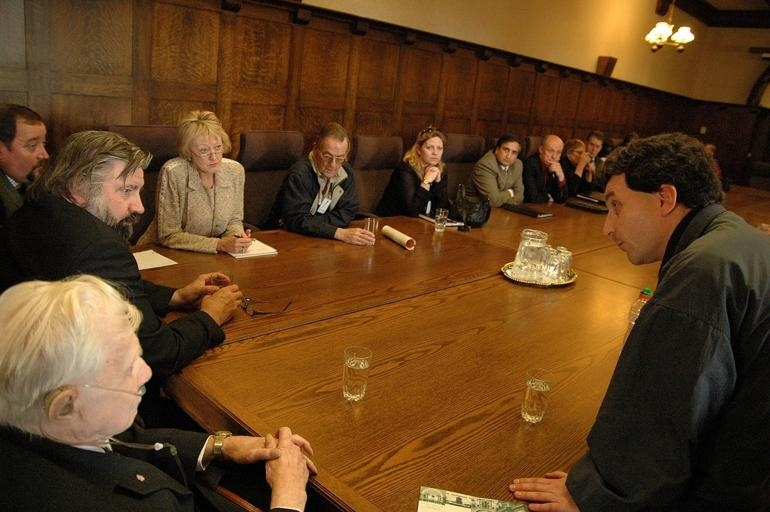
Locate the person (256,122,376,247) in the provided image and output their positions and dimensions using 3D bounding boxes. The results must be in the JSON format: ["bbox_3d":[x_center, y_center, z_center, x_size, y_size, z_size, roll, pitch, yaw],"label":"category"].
[{"bbox_3d":[-0.422,-0.449,3.311,0.598,0.781,0.829,2,25,-22],"label":"person"}]

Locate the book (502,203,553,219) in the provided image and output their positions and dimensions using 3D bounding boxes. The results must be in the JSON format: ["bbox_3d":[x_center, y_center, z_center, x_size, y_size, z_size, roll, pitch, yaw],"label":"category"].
[{"bbox_3d":[1.188,-0.380,4.151,0.378,0.050,0.499,-7,19,-35],"label":"book"}]

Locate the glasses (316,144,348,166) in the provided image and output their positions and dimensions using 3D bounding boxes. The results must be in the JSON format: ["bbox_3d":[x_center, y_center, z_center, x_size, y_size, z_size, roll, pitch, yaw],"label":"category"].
[{"bbox_3d":[-0.344,-0.662,3.217,0.190,0.128,0.108,0,18,-10],"label":"glasses"}]

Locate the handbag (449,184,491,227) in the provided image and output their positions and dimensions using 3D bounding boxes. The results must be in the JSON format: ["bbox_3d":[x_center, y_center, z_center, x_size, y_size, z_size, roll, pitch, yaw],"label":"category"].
[{"bbox_3d":[0.615,-0.362,3.536,0.304,0.289,0.298,18,37,31],"label":"handbag"}]

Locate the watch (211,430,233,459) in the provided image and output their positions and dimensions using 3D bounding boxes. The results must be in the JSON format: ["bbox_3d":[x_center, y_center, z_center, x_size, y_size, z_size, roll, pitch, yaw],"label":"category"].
[{"bbox_3d":[-0.480,0.547,1.438,0.050,0.075,0.073,2,-11,5],"label":"watch"}]

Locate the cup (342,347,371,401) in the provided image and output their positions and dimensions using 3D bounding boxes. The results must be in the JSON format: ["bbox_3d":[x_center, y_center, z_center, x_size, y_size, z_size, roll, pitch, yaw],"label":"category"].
[{"bbox_3d":[-0.093,0.369,1.623,0.093,0.154,0.150,2,17,-3],"label":"cup"}]

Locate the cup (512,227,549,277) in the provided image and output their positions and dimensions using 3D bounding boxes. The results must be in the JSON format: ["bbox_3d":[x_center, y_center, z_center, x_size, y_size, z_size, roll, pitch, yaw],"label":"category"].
[{"bbox_3d":[0.796,0.002,2.716,0.178,0.256,0.172,10,3,-1],"label":"cup"}]

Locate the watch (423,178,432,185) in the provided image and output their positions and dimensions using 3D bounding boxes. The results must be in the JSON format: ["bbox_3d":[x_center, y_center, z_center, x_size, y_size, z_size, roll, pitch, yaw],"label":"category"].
[{"bbox_3d":[0.342,-0.602,3.957,0.064,0.039,0.060,6,12,27],"label":"watch"}]

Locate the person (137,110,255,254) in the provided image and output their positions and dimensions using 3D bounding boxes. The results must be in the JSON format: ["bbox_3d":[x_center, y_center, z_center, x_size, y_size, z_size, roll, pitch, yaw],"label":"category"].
[{"bbox_3d":[-1.064,-0.416,2.919,0.530,0.792,0.793,-15,34,-41],"label":"person"}]
